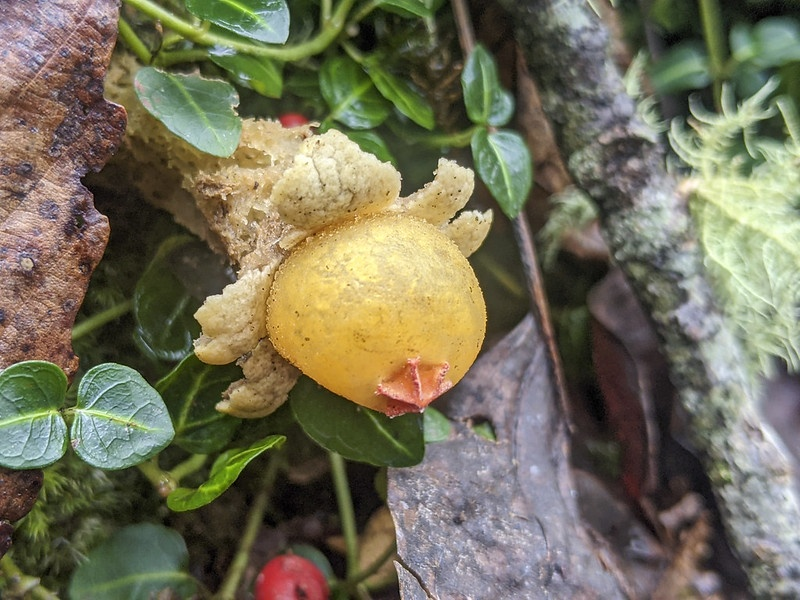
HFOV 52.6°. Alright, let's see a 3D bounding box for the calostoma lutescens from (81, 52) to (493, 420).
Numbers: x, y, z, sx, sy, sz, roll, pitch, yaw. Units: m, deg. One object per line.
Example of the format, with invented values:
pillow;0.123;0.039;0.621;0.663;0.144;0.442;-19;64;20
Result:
calostoma lutescens;-0.250;-0.061;1.629;0.863;0.416;0.591;19;80;1
